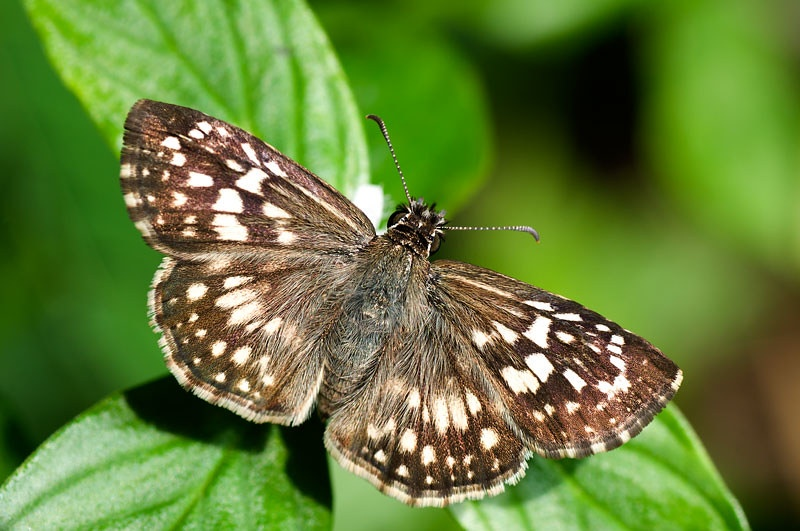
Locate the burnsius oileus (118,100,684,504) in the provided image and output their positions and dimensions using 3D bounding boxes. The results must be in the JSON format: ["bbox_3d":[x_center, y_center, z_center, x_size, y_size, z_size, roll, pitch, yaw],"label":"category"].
[{"bbox_3d":[-0.138,0.191,3.319,1.188,2.630,0.269,-65,14,-15],"label":"burnsius oileus"}]
